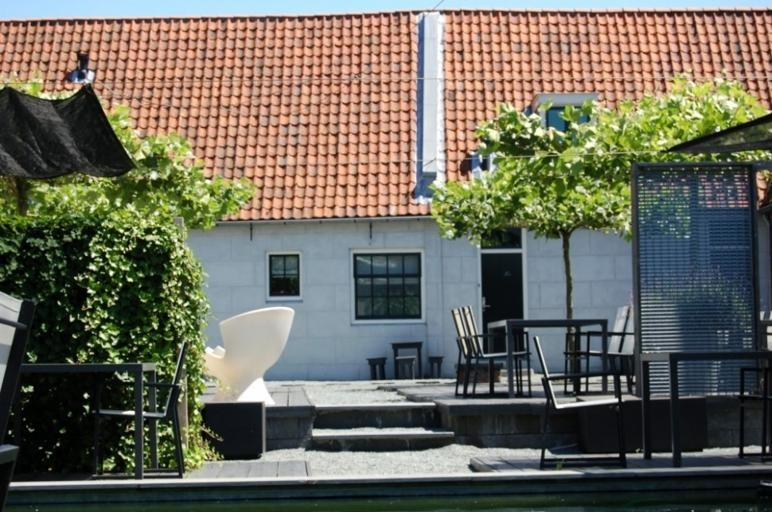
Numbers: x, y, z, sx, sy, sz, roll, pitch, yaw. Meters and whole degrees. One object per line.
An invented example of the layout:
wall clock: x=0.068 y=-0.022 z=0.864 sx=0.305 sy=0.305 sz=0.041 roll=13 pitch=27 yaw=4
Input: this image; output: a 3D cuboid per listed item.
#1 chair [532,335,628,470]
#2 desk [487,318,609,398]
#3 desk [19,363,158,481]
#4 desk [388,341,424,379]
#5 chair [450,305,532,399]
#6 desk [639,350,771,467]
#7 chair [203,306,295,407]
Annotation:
chair: x=2.670 y=2.143 z=17.691 sx=1.625 sy=2.321 sz=1.419 roll=-1 pitch=-3 yaw=6
desk: x=2.605 y=1.418 z=19.714 sx=1.723 sy=0.858 sz=1.684 roll=-2 pitch=-1 yaw=25
desk: x=-3.746 y=2.235 z=16.963 sx=1.465 sy=1.177 sz=1.580 roll=-1 pitch=-9 yaw=-3
desk: x=0.418 y=1.999 z=24.791 sx=0.671 sy=0.776 sz=0.706 roll=1 pitch=10 yaw=19
chair: x=1.721 y=1.517 z=19.950 sx=1.364 sy=1.811 sz=1.395 roll=-1 pitch=-4 yaw=1
desk: x=4.206 y=2.046 z=17.267 sx=1.887 sy=1.580 sz=1.424 roll=-1 pitch=-5 yaw=-7
chair: x=-2.153 y=1.624 z=19.193 sx=1.603 sy=1.402 sz=1.427 roll=-3 pitch=-9 yaw=30
